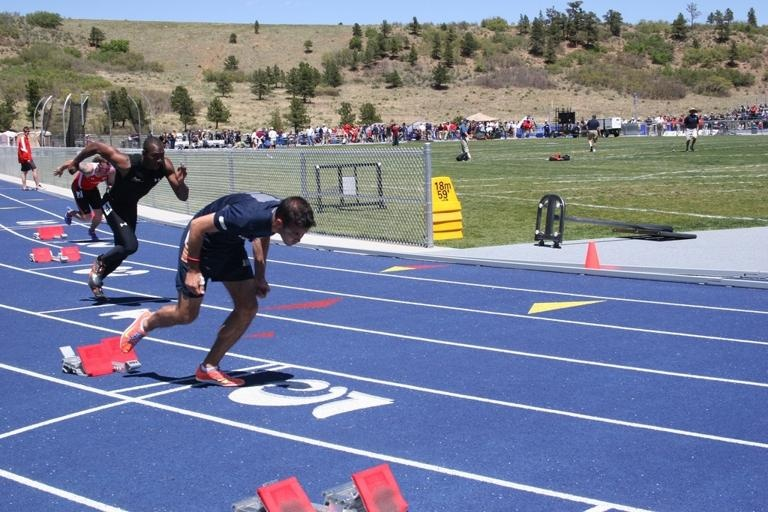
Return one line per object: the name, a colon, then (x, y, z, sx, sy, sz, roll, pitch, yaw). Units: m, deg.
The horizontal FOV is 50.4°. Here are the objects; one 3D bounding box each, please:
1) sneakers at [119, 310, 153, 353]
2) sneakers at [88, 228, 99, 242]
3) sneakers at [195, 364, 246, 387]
sneakers: (-2.876, 0.891, 9.460, 0.197, 0.576, 0.230, 39, 8, -49)
sneakers: (-6.428, -0.453, 17.958, 0.185, 0.196, 0.515, -5, 12, -32)
sneakers: (-1.792, 1.278, 8.753, 0.605, 0.202, 0.218, 7, 8, -13)
